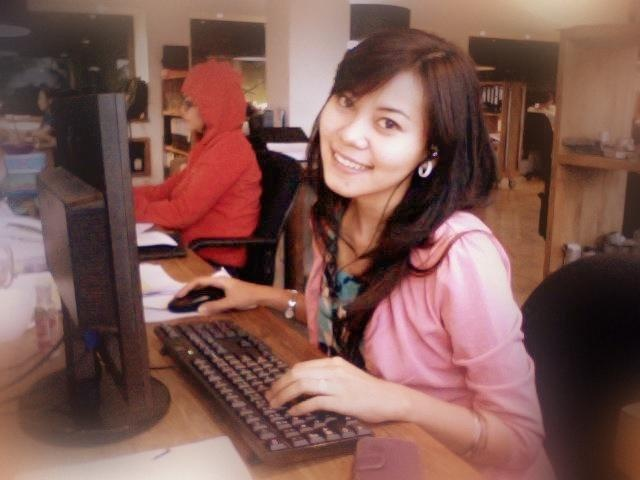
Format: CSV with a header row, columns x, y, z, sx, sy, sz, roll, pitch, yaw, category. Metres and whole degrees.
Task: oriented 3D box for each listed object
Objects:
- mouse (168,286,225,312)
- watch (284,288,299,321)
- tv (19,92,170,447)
x,y,z,sx,sy,sz,roll,pitch,yaw,category
-0.229,0.111,0.951,0.087,0.021,0.043,-18,14,-37,mouse
-0.059,0.136,1.039,0.031,0.051,0.048,13,10,-8,watch
-0.323,0.026,0.664,0.262,0.413,0.164,10,16,37,tv
